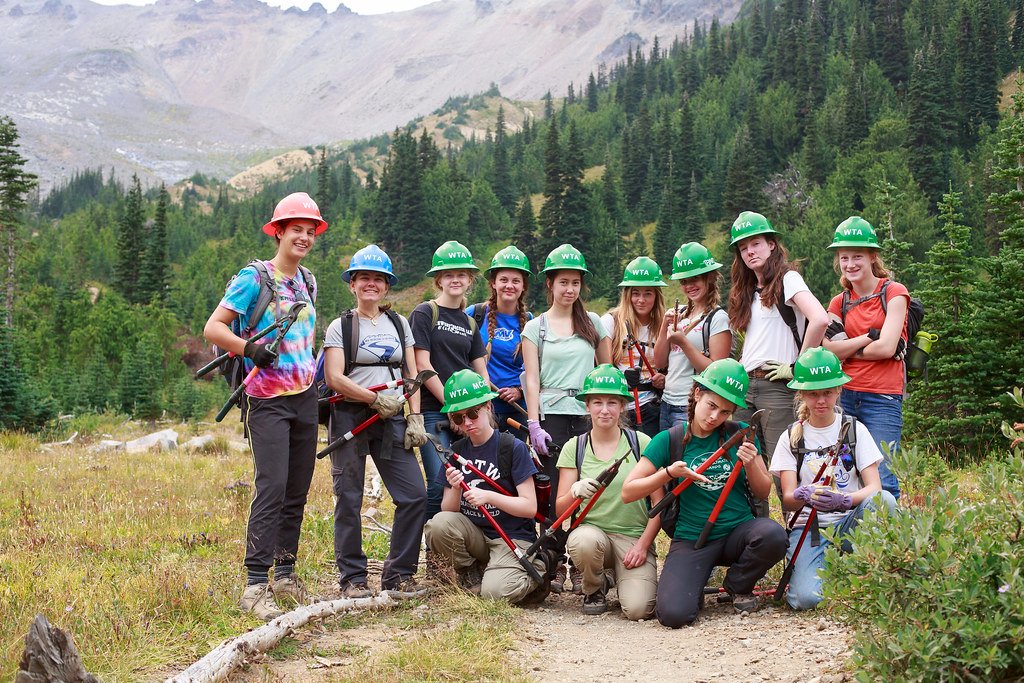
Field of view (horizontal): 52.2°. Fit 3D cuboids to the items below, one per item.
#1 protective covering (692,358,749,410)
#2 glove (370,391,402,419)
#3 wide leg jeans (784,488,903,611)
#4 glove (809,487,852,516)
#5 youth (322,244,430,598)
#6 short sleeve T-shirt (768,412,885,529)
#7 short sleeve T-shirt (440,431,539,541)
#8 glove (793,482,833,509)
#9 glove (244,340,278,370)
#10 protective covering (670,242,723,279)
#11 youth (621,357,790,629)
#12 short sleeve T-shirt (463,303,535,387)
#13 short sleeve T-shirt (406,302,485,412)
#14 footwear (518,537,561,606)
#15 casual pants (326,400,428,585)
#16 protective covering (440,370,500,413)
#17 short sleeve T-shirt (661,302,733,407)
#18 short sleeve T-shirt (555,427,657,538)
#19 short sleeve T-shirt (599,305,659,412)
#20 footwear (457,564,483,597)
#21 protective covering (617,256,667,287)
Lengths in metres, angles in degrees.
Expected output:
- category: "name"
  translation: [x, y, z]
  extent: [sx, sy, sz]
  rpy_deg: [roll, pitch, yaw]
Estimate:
- category: "protective covering"
  translation: [3.044, 0.576, 15.330]
  extent: [0.618, 0.414, 0.749]
  rpy_deg: [21, 19, -31]
- category: "glove"
  translation: [-1.877, 0.949, 15.593]
  extent: [0.447, 0.326, 0.201]
  rpy_deg: [-27, -19, -46]
- category: "wide leg jeans"
  translation: [4.631, 2.947, 14.920]
  extent: [1.917, 1.914, 0.594]
  rpy_deg: [0, 8, -20]
- category: "glove"
  translation: [4.609, 2.304, 15.053]
  extent: [0.468, 0.192, 0.353]
  rpy_deg: [5, -23, -8]
- category: "youth"
  translation: [-2.020, 1.176, 15.851]
  extent: [1.557, 5.284, 1.406]
  rpy_deg: [-1, -3, -1]
- category: "short sleeve T-shirt"
  translation: [4.660, 1.891, 15.245]
  extent: [1.528, 1.556, 0.857]
  rpy_deg: [-4, -12, 20]
- category: "short sleeve T-shirt"
  translation: [-0.354, 2.253, 15.918]
  extent: [1.212, 1.248, 0.676]
  rpy_deg: [-23, 3, 44]
- category: "glove"
  translation: [4.344, 2.208, 15.109]
  extent: [0.335, 0.201, 0.433]
  rpy_deg: [30, -15, -24]
- category: "glove"
  translation: [-3.574, 0.203, 14.788]
  extent: [0.458, 0.414, 0.336]
  rpy_deg: [1, 6, -14]
- category: "protective covering"
  translation: [2.938, -1.300, 16.831]
  extent: [0.545, 0.380, 0.686]
  rpy_deg: [-4, 8, 45]
- category: "youth"
  translation: [2.951, 2.377, 15.571]
  extent: [2.867, 4.372, 2.773]
  rpy_deg: [-5, -15, 1]
- category: "short sleeve T-shirt"
  translation: [-0.237, 0.106, 17.018]
  extent: [1.292, 1.244, 0.661]
  rpy_deg: [3, 2, -28]
- category: "short sleeve T-shirt"
  translation: [-1.094, 0.297, 16.459]
  extent: [1.649, 2.006, 0.803]
  rpy_deg: [-1, -4, -37]
- category: "footwear"
  translation: [0.324, 3.528, 15.771]
  extent: [0.428, 0.556, 1.312]
  rpy_deg: [-4, -5, 19]
- category: "casual pants"
  translation: [-2.005, 2.396, 15.628]
  extent: [1.422, 2.607, 0.617]
  rpy_deg: [2, 6, -6]
- category: "protective covering"
  translation: [-0.707, 0.768, 15.605]
  extent: [0.596, 0.378, 0.712]
  rpy_deg: [-12, 2, 8]
- category: "short sleeve T-shirt"
  translation: [2.937, 0.213, 16.400]
  extent: [0.606, 1.566, 1.179]
  rpy_deg: [17, 8, -29]
- category: "short sleeve T-shirt"
  translation: [1.456, 2.170, 15.759]
  extent: [1.618, 1.617, 0.857]
  rpy_deg: [1, -3, -5]
- category: "short sleeve T-shirt"
  translation: [1.928, 0.279, 17.375]
  extent: [0.339, 1.461, 1.027]
  rpy_deg: [-6, -2, 19]
- category: "footwear"
  translation: [-0.640, 3.646, 16.025]
  extent: [0.197, 0.632, 0.268]
  rpy_deg: [-18, -10, 29]
- category: "protective covering"
  translation: [2.203, -1.137, 17.503]
  extent: [0.525, 0.352, 0.671]
  rpy_deg: [0, 0, 10]
